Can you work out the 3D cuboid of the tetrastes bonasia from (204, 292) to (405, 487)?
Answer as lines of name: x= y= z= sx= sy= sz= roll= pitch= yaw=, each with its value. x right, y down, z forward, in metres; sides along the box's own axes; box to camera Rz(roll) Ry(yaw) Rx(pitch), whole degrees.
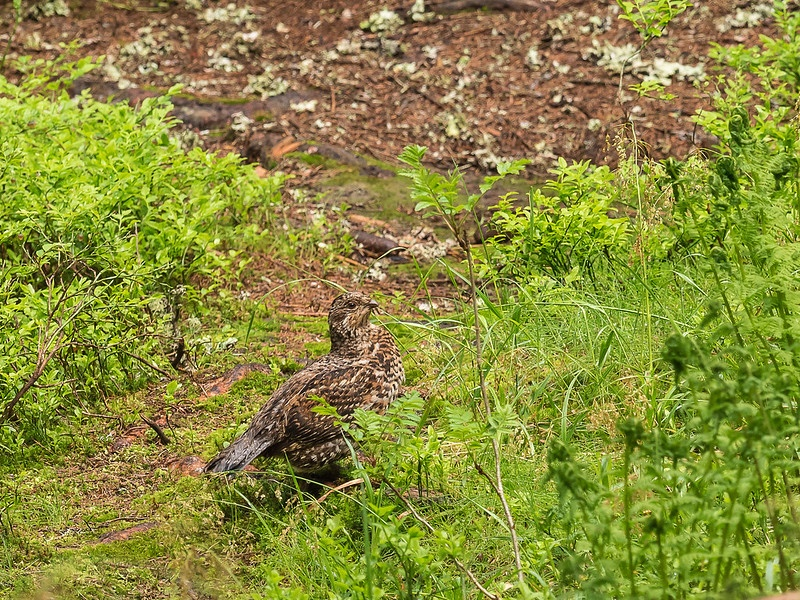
tetrastes bonasia: x=-0.579 y=0.514 z=6.505 sx=1.270 sy=1.078 sz=0.690 roll=-8 pitch=10 yaw=-10
